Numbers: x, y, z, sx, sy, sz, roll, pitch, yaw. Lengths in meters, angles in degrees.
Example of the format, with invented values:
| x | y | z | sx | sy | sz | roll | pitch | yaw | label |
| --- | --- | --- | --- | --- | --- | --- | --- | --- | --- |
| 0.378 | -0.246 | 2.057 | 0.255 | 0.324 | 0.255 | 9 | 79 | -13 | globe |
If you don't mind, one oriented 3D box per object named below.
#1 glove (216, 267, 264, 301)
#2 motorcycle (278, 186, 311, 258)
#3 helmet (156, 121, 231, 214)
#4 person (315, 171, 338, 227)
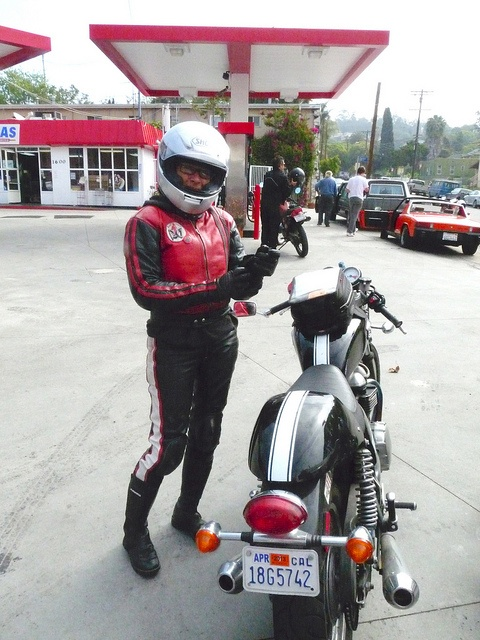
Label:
| x | y | z | sx | sy | sz | roll | pitch | yaw | label |
| --- | --- | --- | --- | --- | --- | --- | --- | --- | --- |
| -0.005 | -0.144 | 1.884 | 0.146 | 0.064 | 0.109 | -10 | 13 | -42 | glove |
| 1.205 | -2.274 | 11.093 | 0.908 | 1.125 | 1.676 | -6 | 22 | -2 | motorcycle |
| -0.179 | -0.607 | 1.904 | 0.303 | 0.364 | 0.273 | -4 | 14 | -22 | helmet |
| 2.994 | -4.288 | 16.832 | 0.702 | 1.884 | 0.556 | 4 | 31 | 6 | person |
